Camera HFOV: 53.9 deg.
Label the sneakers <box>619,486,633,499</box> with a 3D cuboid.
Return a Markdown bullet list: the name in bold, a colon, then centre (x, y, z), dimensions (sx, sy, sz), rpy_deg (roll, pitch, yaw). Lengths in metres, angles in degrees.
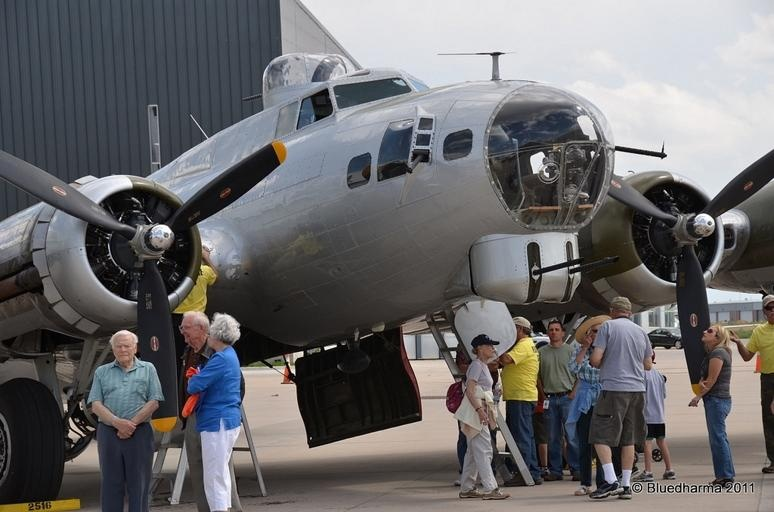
- **sneakers**: centre (3.449, 3.455, 11.118), dimensions (0.107, 0.129, 0.301), rpy_deg (0, 0, 6)

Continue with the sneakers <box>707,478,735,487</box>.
- **sneakers**: centre (5.084, 3.454, 11.690), dimensions (0.362, 0.157, 0.124), rpy_deg (5, 5, 26)

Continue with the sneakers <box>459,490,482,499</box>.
- **sneakers**: centre (1.267, 3.652, 11.718), dimensions (0.372, 0.148, 0.127), rpy_deg (-3, -1, 11)

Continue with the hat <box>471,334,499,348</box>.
- **hat**: centre (1.457, 1.315, 11.652), dimensions (0.341, 0.133, 0.218), rpy_deg (-2, 1, 1)

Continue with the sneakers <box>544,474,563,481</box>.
- **sneakers**: centre (2.750, 3.726, 12.827), dimensions (0.320, 0.135, 0.114), rpy_deg (6, -6, -1)

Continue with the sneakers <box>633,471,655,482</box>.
- **sneakers**: centre (4.043, 3.492, 12.032), dimensions (0.365, 0.156, 0.141), rpy_deg (0, -2, -5)

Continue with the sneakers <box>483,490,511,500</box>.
- **sneakers**: centre (1.622, 3.612, 11.539), dimensions (0.457, 0.194, 0.155), rpy_deg (-1, 1, 5)

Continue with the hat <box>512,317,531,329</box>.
- **hat**: centre (2.194, 1.094, 12.816), dimensions (0.194, 0.099, 0.270), rpy_deg (10, 14, -46)

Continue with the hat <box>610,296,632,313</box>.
- **hat**: centre (3.437, 0.750, 11.430), dimensions (0.289, 0.309, 0.335), rpy_deg (4, 9, 2)

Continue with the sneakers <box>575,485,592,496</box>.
- **sneakers**: centre (2.992, 3.574, 11.605), dimensions (0.316, 0.132, 0.114), rpy_deg (5, -7, -36)

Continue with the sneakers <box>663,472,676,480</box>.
- **sneakers**: centre (4.560, 3.581, 12.400), dimensions (0.090, 0.101, 0.236), rpy_deg (-3, 0, -2)

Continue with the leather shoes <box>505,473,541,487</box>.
- **leather shoes**: centre (2.167, 3.687, 12.459), dimensions (0.449, 0.147, 0.245), rpy_deg (-1, -1, 1)
